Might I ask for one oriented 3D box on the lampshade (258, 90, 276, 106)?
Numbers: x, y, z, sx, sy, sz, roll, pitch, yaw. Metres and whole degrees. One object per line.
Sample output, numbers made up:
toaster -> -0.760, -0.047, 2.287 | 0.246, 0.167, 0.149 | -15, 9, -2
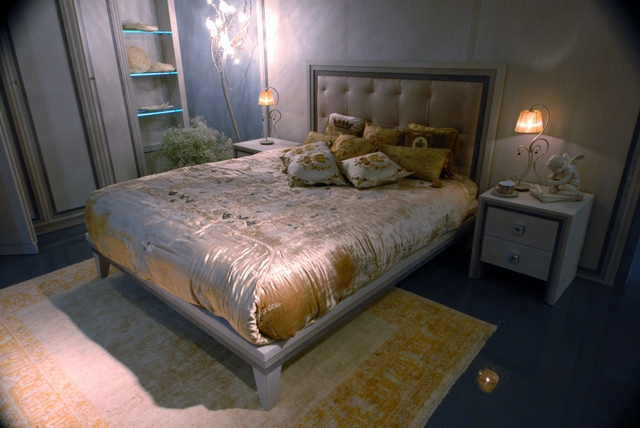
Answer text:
lampshade -> -0.657, -1.417, 4.633 | 0.200, 0.143, 0.199 | -2, 17, -4

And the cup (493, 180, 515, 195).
cup -> 1.542, -0.216, 3.195 | 0.140, 0.088, 0.107 | 11, 24, 35

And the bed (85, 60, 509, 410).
bed -> -0.234, -0.388, 3.570 | 3.358, 1.827, 2.696 | -19, 30, -36

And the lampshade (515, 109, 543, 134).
lampshade -> 1.735, -0.758, 3.133 | 0.191, 0.152, 0.191 | -1, 12, -4

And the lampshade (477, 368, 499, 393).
lampshade -> 1.106, 1.102, 2.513 | 0.120, 0.044, 0.170 | 22, 42, 30

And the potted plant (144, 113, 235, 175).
potted plant -> -1.713, -0.885, 4.862 | 0.827, 0.655, 0.750 | 21, 33, 40

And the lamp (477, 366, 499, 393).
lamp -> 1.096, 1.095, 2.498 | 0.088, 0.030, 0.125 | 11, 41, 28
